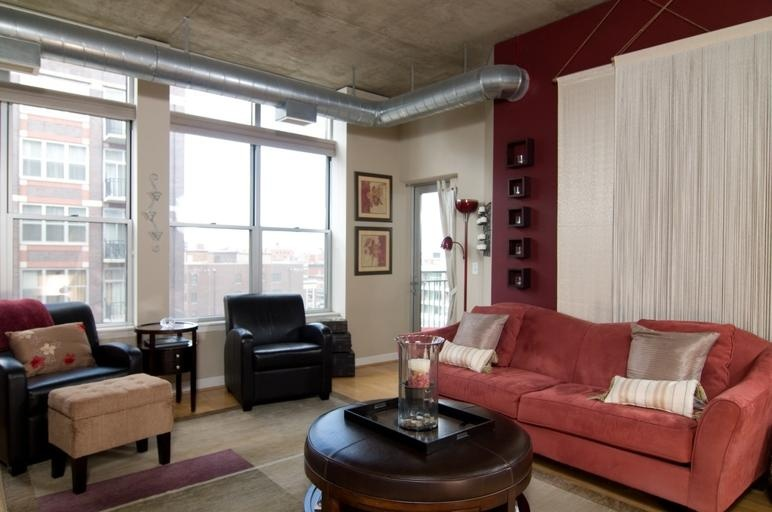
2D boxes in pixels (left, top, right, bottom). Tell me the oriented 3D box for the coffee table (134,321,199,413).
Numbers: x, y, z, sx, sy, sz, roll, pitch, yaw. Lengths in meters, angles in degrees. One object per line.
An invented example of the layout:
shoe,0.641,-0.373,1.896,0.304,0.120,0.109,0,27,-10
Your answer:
coffee table,-2.473,1.262,6.311,0.712,0.921,0.684,2,-3,-12

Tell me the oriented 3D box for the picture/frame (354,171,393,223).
picture/frame,-0.173,-0.860,8.156,0.736,0.704,0.051,10,17,37

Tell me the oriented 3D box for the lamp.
lamp,1.000,0.141,7.707,0.586,1.801,0.434,-10,23,-14

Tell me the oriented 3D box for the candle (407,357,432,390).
candle,0.252,0.918,4.441,0.213,0.232,0.208,0,0,-13

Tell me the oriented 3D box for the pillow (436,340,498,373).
pillow,0.835,1.036,5.756,0.645,0.290,0.236,13,-8,39

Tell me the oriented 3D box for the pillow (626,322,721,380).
pillow,2.489,0.927,5.004,0.686,0.568,0.360,2,2,37

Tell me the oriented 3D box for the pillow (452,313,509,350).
pillow,1.004,0.767,5.905,0.438,0.392,0.130,1,-31,49

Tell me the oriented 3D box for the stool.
stool,-2.135,1.613,5.063,0.932,0.778,0.535,-15,-23,12
